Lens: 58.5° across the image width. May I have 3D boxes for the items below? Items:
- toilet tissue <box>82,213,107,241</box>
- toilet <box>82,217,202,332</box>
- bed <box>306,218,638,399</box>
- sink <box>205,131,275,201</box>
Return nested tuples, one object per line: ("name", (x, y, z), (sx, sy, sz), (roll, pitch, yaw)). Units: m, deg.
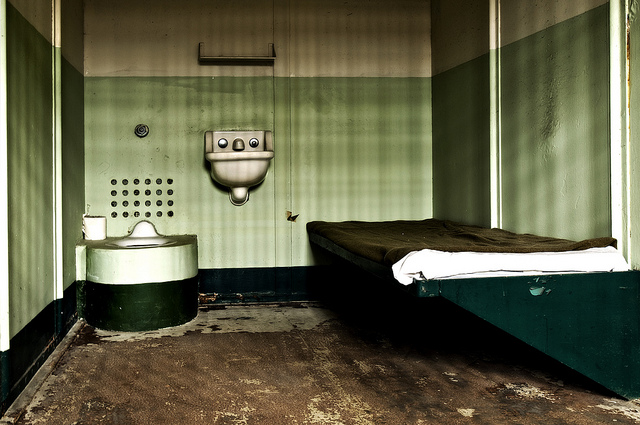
("toilet tissue", (-1.788, 0.126, 4.559), (0.193, 0.202, 0.186), (3, 0, -9))
("toilet", (-1.369, 0.464, 4.510), (0.871, 0.738, 0.811), (-1, 3, -20))
("bed", (0.990, 0.503, 3.702), (1.604, 0.861, 1.217), (-1, 13, -2))
("sink", (-0.671, -0.389, 4.827), (0.586, 0.598, 0.434), (-2, 7, -11))
